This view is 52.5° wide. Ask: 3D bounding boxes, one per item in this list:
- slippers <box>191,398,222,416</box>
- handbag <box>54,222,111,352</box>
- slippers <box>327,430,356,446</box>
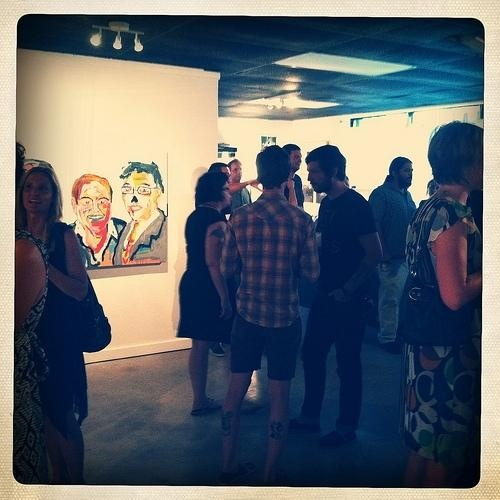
[{"bbox_3d":[-0.251,0.903,2.986,0.194,0.074,0.071,-6,4,-28],"label":"slippers"},{"bbox_3d":[-0.729,0.152,2.392,0.312,0.551,0.137,-4,12,46],"label":"handbag"},{"bbox_3d":[0.490,1.031,2.768,0.164,0.065,0.068,-4,-24,-12],"label":"slippers"}]
